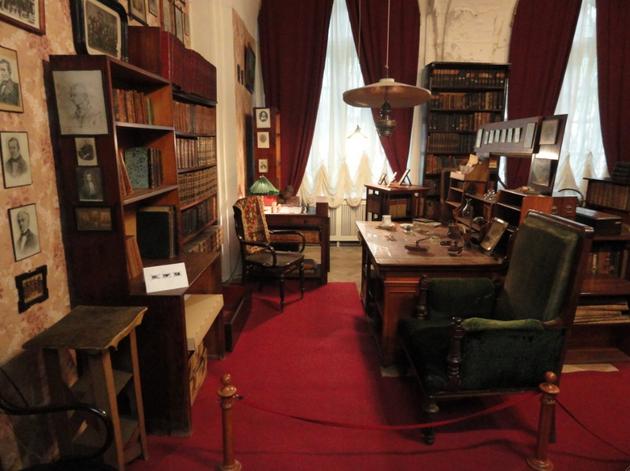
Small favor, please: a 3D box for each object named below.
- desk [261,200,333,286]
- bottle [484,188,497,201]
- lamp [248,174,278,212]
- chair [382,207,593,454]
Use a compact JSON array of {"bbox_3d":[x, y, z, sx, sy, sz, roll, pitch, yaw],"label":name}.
[{"bbox_3d":[-0.126,-0.016,5.884,1.036,1.067,0.809,-1,6,2],"label":"desk"},{"bbox_3d":[1.659,-0.384,4.480,0.120,0.054,0.126,-7,24,3],"label":"bottle"},{"bbox_3d":[-0.573,-0.509,5.509,0.358,0.399,0.384,11,19,35],"label":"lamp"},{"bbox_3d":[1.151,0.656,3.864,1.321,2.019,1.400,0,4,0],"label":"chair"}]
